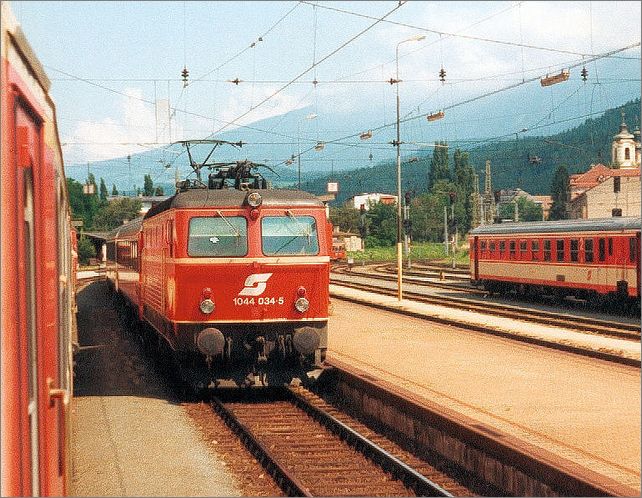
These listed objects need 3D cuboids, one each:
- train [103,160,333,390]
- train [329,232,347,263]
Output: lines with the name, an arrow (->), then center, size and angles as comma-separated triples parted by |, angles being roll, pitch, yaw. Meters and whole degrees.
train -> -1.749, 0.379, 13.238 | 2.447, 4.148, 4.228 | -3, 1, -25
train -> 2.195, -0.149, 109.560 | 2.204, 3.549, 7.013 | -1, -3, -4
